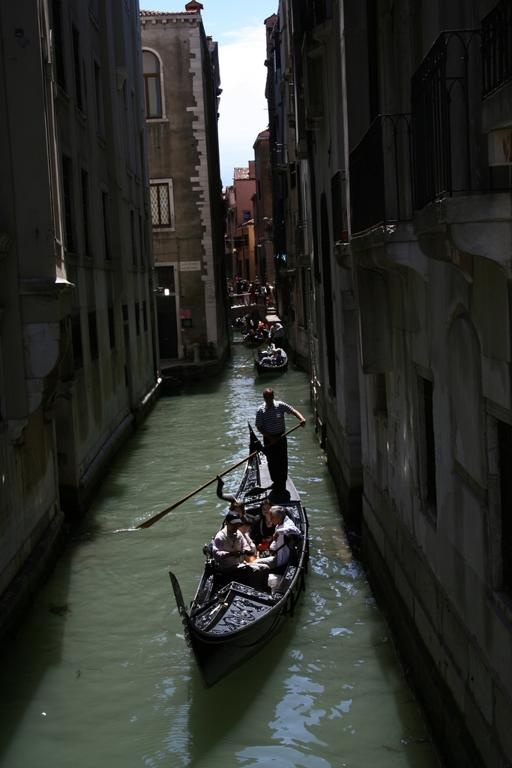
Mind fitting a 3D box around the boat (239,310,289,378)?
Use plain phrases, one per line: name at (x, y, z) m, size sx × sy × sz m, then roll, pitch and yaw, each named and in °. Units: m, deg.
boat at (0.689, -1.888, 39.217) m, size 1.183 × 1.574 × 7.921 m, roll -7°, pitch 20°, yaw 3°
